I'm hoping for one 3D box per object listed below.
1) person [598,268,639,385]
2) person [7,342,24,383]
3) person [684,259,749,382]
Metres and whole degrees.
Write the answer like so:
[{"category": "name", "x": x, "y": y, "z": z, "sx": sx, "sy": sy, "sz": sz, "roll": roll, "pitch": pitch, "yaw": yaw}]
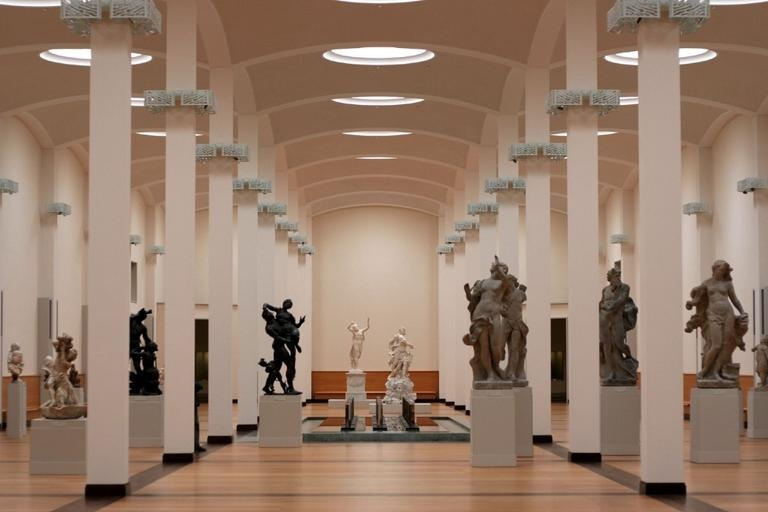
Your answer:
[{"category": "person", "x": 5.780, "y": 1.723, "z": 23.320, "sx": 0.876, "sy": 2.932, "sz": 1.174, "roll": -1, "pitch": -9, "yaw": 14}, {"category": "person", "x": -10.838, "y": 3.095, "z": 27.708, "sx": 0.365, "sy": 1.128, "sz": 1.560, "roll": 5, "pitch": -10, "yaw": -21}, {"category": "person", "x": 7.861, "y": 1.552, "z": 22.190, "sx": 1.230, "sy": 2.850, "sz": 0.879, "roll": -2, "pitch": -10, "yaw": 16}]
